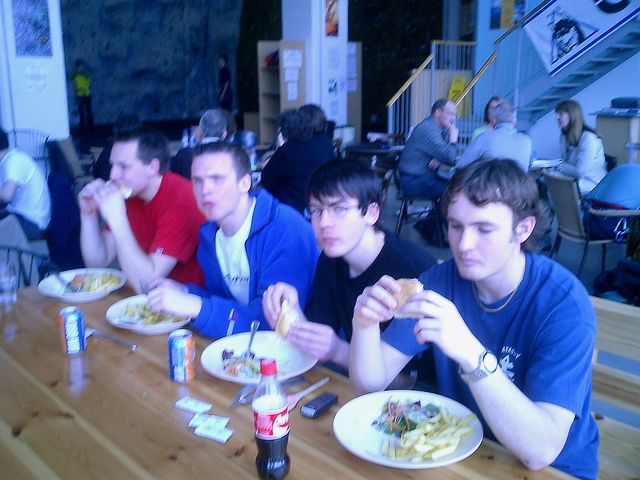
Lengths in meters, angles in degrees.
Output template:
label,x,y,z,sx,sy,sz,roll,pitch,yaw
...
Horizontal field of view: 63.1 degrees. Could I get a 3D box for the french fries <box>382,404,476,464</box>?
label,x,y,z,sx,sy,sz,roll,pitch,yaw
french fries,0.323,0.578,1.561,0.272,0.077,0.217,1,11,10

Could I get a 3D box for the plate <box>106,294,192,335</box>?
label,x,y,z,sx,sy,sz,roll,pitch,yaw
plate,-0.776,0.335,2.251,0.203,0.050,0.228,10,17,17

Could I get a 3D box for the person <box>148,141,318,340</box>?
label,x,y,z,sx,sy,sz,roll,pitch,yaw
person,-0.437,-0.021,2.485,0.675,0.864,0.968,8,10,24

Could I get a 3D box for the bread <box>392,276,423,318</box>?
label,x,y,z,sx,sy,sz,roll,pitch,yaw
bread,0.268,0.182,1.669,0.095,0.118,0.038,31,-10,41

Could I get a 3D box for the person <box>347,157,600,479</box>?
label,x,y,z,sx,sy,sz,roll,pitch,yaw
person,0.504,0.251,1.693,0.760,1.006,0.497,6,13,32

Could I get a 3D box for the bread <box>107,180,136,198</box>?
label,x,y,z,sx,sy,sz,roll,pitch,yaw
bread,-1.040,-0.279,2.723,0.081,0.034,0.104,-12,37,-38

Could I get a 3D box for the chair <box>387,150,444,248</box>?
label,x,y,z,sx,sy,sz,roll,pitch,yaw
chair,1.130,-0.427,6.032,0.532,0.877,0.550,2,14,3

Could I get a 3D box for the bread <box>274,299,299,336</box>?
label,x,y,z,sx,sy,sz,roll,pitch,yaw
bread,-0.128,0.294,1.949,0.034,0.112,0.108,17,-36,-19

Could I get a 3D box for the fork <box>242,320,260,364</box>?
label,x,y,z,sx,sy,sz,roll,pitch,yaw
fork,-0.274,0.400,2.033,0.027,0.154,0.024,11,-2,14

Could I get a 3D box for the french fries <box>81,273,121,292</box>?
label,x,y,z,sx,sy,sz,roll,pitch,yaw
french fries,-1.111,0.212,2.638,0.106,0.018,0.114,-1,21,-12

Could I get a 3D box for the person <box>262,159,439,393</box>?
label,x,y,z,sx,sy,sz,roll,pitch,yaw
person,0.126,0.162,2.208,0.739,0.954,0.606,-4,9,-27

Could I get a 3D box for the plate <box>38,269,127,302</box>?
label,x,y,z,sx,sy,sz,roll,pitch,yaw
plate,-1.242,0.202,2.702,0.398,0.092,0.402,12,1,42

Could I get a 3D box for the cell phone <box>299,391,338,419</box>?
label,x,y,z,sx,sy,sz,roll,pitch,yaw
cell phone,-0.003,0.533,1.725,0.052,0.035,0.105,12,24,40

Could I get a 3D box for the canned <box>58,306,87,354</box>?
label,x,y,z,sx,sy,sz,roll,pitch,yaw
canned,-0.980,0.356,2.062,0.092,0.192,0.100,13,25,14

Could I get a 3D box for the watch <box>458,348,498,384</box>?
label,x,y,z,sx,sy,sz,roll,pitch,yaw
watch,0.474,0.372,1.552,0.063,0.107,0.092,14,-24,-22

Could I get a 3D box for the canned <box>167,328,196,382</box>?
label,x,y,z,sx,sy,sz,roll,pitch,yaw
canned,-0.503,0.413,1.891,0.096,0.190,0.101,-4,24,-21
